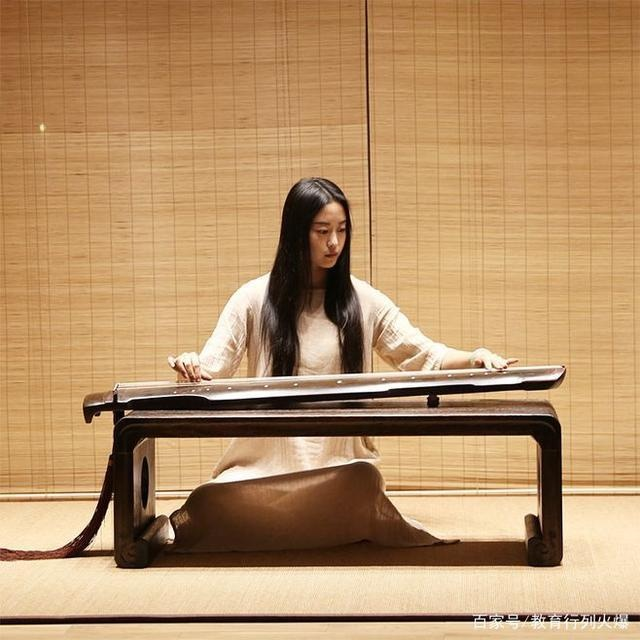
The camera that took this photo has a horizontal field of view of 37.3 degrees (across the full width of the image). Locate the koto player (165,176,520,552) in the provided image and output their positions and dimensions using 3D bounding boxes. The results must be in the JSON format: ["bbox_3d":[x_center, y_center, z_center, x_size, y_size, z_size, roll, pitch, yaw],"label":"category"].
[{"bbox_3d":[0.014,0.134,2.783,1.064,0.993,0.649,-1,5,-21],"label":"koto player"}]

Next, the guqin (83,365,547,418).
[{"bbox_3d":[0.007,0.191,2.524,0.976,0.116,0.177,-3,1,-3],"label":"guqin"}]

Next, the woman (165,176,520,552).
[{"bbox_3d":[0.115,0.120,2.877,1.150,0.999,0.674,3,-10,-21],"label":"woman"}]

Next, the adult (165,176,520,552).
[{"bbox_3d":[0.115,0.120,2.877,1.150,0.999,0.674,3,-10,-21],"label":"adult"}]

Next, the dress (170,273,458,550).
[{"bbox_3d":[-0.004,0.262,2.777,0.906,0.760,0.470,0,5,-3],"label":"dress"}]

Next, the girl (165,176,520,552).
[{"bbox_3d":[0.115,0.120,2.877,1.150,0.999,0.674,3,-10,-21],"label":"girl"}]
